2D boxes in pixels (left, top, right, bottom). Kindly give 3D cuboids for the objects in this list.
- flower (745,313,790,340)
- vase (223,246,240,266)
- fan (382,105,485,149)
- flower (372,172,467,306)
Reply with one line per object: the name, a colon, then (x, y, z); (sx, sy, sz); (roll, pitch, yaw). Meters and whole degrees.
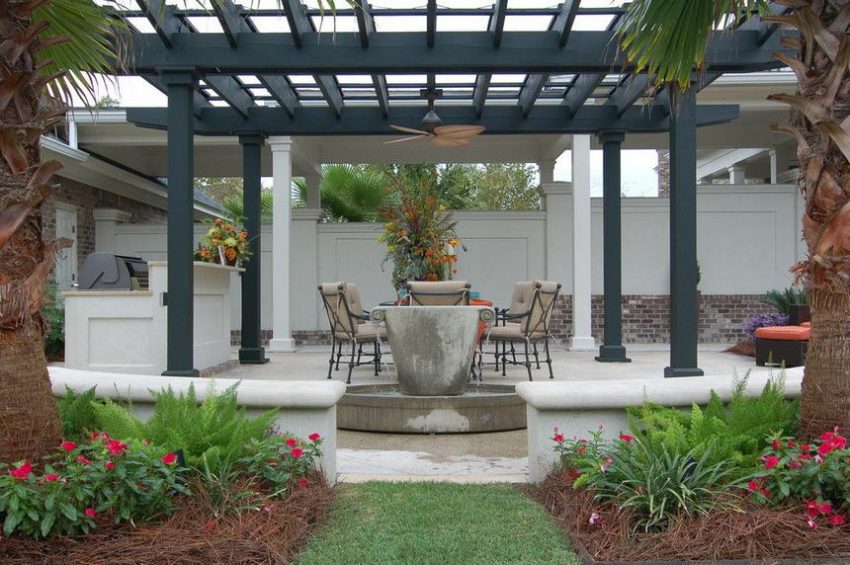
flower: (4.428, 0.578, 9.325); (0.418, 0.284, 0.396); (-8, 4, -7)
vase: (-2.268, -0.304, 8.431); (0.066, 0.197, 0.140); (1, -9, 19)
fan: (0.094, -1.863, 8.449); (1.229, 0.349, 1.190); (3, 23, 12)
flower: (-0.064, -0.501, 7.547); (0.786, 1.404, 1.170); (0, 3, 1)
